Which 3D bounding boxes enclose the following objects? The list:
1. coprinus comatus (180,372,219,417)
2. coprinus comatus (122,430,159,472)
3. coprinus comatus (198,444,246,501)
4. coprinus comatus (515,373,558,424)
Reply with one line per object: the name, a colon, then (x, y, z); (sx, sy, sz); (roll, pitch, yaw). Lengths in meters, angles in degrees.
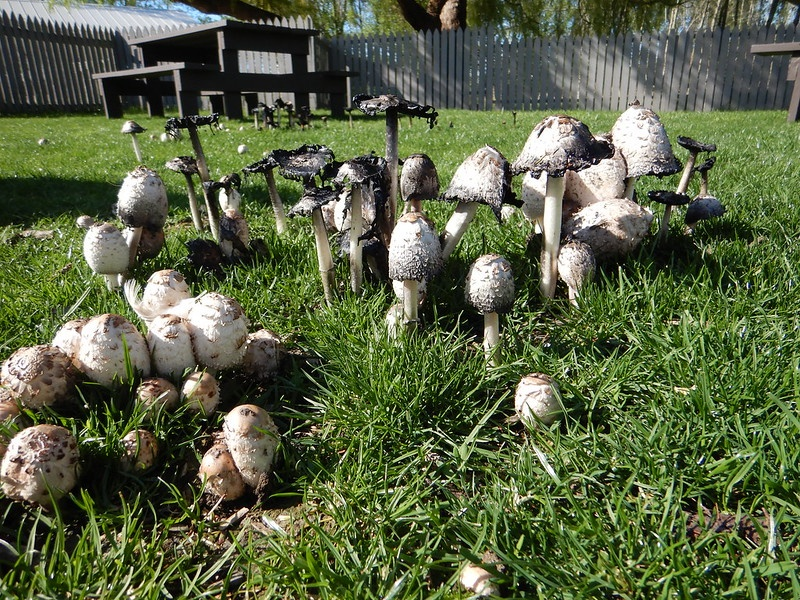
coprinus comatus: (-1.057, 0.529, 3.774); (0.194, 0.236, 0.225); (11, -13, -13)
coprinus comatus: (-1.337, 0.760, 3.578); (0.157, 0.214, 0.120); (9, 0, -3)
coprinus comatus: (-0.877, 0.866, 3.462); (0.206, 0.269, 0.146); (5, -4, -20)
coprinus comatus: (0.735, 0.529, 3.644); (0.213, 0.277, 0.244); (1, 5, 3)
